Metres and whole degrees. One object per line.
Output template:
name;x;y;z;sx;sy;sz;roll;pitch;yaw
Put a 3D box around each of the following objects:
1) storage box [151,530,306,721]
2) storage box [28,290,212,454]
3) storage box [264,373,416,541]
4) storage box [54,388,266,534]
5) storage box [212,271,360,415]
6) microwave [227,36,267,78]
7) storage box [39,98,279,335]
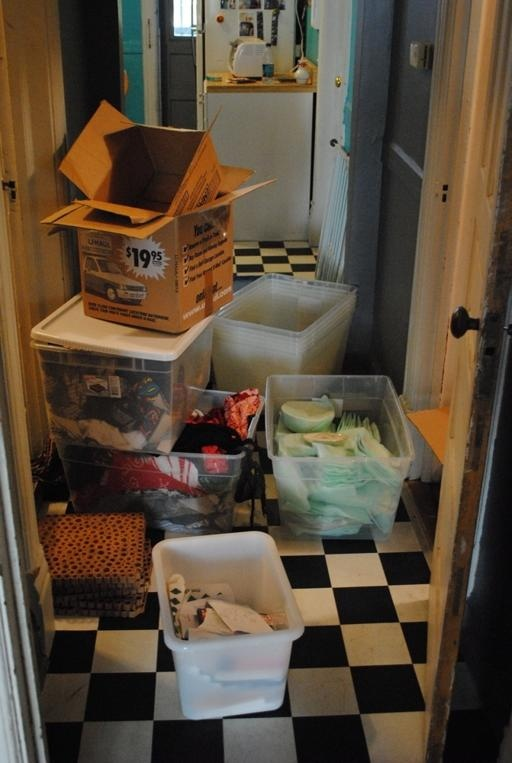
storage box;-0.071;0.566;1.441;0.272;0.260;0.378;-3;22;-9
storage box;-0.394;-0.012;1.810;0.369;0.338;0.507;10;26;6
storage box;0.260;0.236;2.141;0.464;0.371;0.563;3;27;1
storage box;-0.292;0.276;2.013;0.583;0.301;0.413;-1;27;0
storage box;0.125;-0.224;2.686;0.430;0.354;0.651;13;31;18
microwave;-0.067;-2.563;4.768;0.300;0.317;0.338;2;55;-1
storage box;-0.289;-0.481;1.795;0.596;0.549;0.582;-25;42;-38
